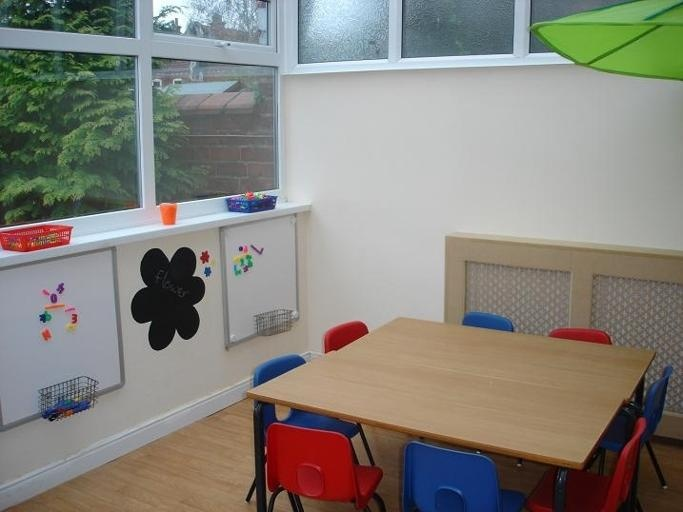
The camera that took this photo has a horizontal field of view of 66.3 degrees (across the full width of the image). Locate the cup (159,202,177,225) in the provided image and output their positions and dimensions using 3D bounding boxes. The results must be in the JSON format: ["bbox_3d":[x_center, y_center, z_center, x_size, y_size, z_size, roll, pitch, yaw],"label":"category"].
[{"bbox_3d":[-1.185,-0.292,3.570,0.128,0.160,0.131,-4,7,0],"label":"cup"}]

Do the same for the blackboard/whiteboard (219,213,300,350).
[{"bbox_3d":[-0.682,0.189,4.190,0.103,1.044,0.952,9,16,37],"label":"blackboard/whiteboard"}]
